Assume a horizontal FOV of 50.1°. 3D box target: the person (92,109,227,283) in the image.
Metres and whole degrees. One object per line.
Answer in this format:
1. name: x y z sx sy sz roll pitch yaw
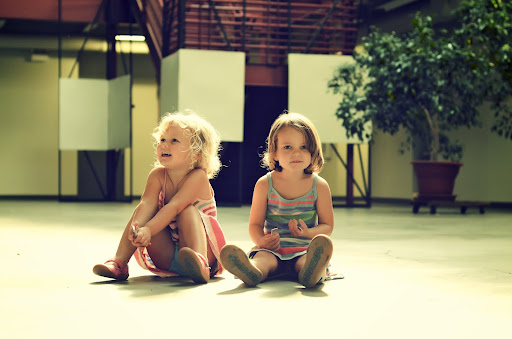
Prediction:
1. person: -0.692 0.159 3.697 0.874 1.162 0.964 1 1 26

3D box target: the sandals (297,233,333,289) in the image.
1. sandals: 0.345 0.531 3.209 0.141 0.366 0.145 24 16 22

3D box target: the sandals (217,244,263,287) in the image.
1. sandals: -0.093 0.553 3.222 0.151 0.298 0.116 -36 13 3

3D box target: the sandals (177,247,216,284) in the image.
1. sandals: -0.351 0.561 3.262 0.134 0.270 0.107 -20 20 12

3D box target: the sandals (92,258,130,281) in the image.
1. sandals: -0.848 0.601 3.263 0.208 0.093 0.106 26 -27 -35
